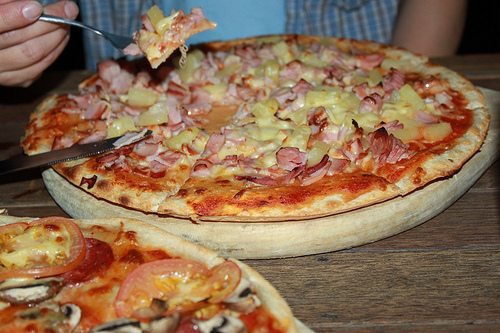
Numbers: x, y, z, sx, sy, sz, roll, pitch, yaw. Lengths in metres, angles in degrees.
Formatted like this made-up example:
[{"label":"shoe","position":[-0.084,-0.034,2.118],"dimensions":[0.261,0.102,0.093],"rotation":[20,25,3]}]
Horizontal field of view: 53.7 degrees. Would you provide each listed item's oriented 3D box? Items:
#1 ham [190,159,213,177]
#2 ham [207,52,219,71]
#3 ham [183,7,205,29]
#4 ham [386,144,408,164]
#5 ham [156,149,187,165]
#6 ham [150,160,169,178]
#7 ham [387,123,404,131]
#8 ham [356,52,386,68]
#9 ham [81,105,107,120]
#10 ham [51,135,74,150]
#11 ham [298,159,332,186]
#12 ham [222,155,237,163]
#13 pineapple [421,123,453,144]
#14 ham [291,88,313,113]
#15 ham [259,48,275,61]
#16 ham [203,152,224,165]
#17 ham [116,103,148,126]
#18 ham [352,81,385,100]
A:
[{"label":"ham","position":[-0.254,0.000,2.604],"dimensions":[0.116,0.064,0.091],"rotation":[-1,38,0]},{"label":"ham","position":[-0.268,-0.762,3.574],"dimensions":[0.043,0.051,0.199],"rotation":[-18,59,-14]},{"label":"ham","position":[-0.305,-0.816,2.714],"dimensions":[0.094,0.035,0.131],"rotation":[31,77,-1]},{"label":"ham","position":[0.751,-0.065,2.548],"dimensions":[0.052,0.073,0.106],"rotation":[31,49,33]},{"label":"ham","position":[-0.420,-0.059,2.664],"dimensions":[0.116,0.033,0.101],"rotation":[26,45,31]},{"label":"ham","position":[-0.479,0.016,2.601],"dimensions":[0.073,0.032,0.089],"rotation":[-30,52,-30]},{"label":"ham","position":[0.808,-0.219,2.742],"dimensions":[0.115,0.030,0.026],"rotation":[-22,9,-13]},{"label":"ham","position":[0.835,-0.740,3.438],"dimensions":[0.137,0.031,0.121],"rotation":[3,34,4]},{"label":"ham","position":[-0.955,-0.331,3.044],"dimensions":[0.119,0.031,0.104],"rotation":[2,56,35]},{"label":"ham","position":[-1.063,-0.138,2.821],"dimensions":[0.100,0.023,0.114],"rotation":[33,42,30]},{"label":"ham","position":[0.328,0.036,2.444],"dimensions":[0.189,0.072,0.085],"rotation":[-12,40,-14]},{"label":"ham","position":[-0.105,-0.046,2.624],"dimensions":[0.081,0.030,0.056],"rotation":[8,39,11]},{"label":"pineapple","position":[1.017,-0.186,2.706],"dimensions":[0.166,0.067,0.130],"rotation":[5,38,8]},{"label":"ham","position":[0.327,-0.406,3.019],"dimensions":[0.176,0.041,0.100],"rotation":[-42,29,-25]},{"label":"ham","position":[0.127,-0.824,3.597],"dimensions":[0.105,0.028,0.094],"rotation":[17,53,19]},{"label":"ham","position":[-0.194,-0.040,2.633],"dimensions":[0.078,0.024,0.069],"rotation":[-22,53,-4]},{"label":"ham","position":[-0.724,-0.318,3.040],"dimensions":[0.153,0.035,0.142],"rotation":[26,66,16]},{"label":"ham","position":[0.730,-0.474,3.078],"dimensions":[0.249,0.088,0.232],"rotation":[9,17,13]}]
